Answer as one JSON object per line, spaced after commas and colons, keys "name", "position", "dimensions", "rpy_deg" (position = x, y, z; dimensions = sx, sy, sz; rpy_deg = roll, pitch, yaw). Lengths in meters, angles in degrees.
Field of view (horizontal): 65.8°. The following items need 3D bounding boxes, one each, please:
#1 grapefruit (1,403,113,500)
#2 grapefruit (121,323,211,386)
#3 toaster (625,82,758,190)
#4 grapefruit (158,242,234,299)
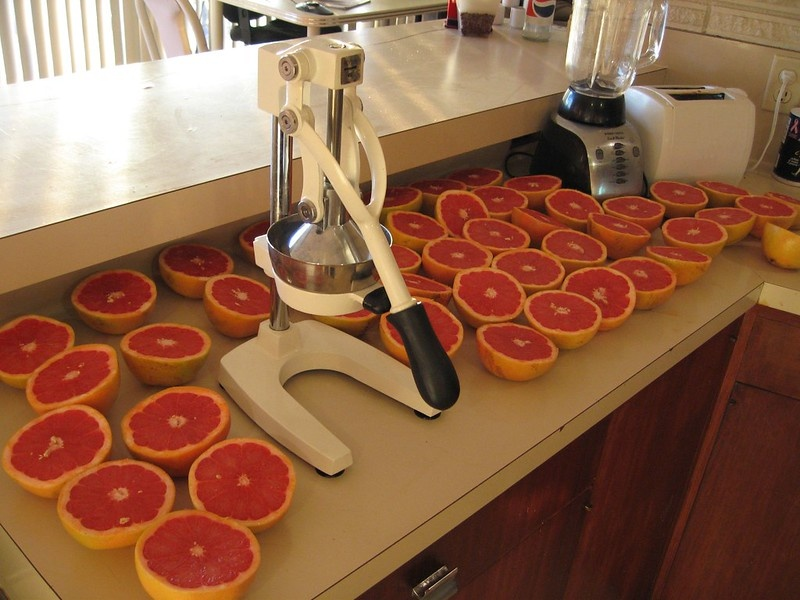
{"name": "grapefruit", "position": [-0.385, 0.167, 0.698], "dimensions": [0.098, 0.052, 0.100], "rpy_deg": [-20, 47, -19]}
{"name": "grapefruit", "position": [-0.312, 0.068, 0.826], "dimensions": [0.098, 0.048, 0.088], "rpy_deg": [3, 29, -6]}
{"name": "toaster", "position": [0.642, -0.360, 1.458], "dimensions": [0.325, 0.226, 0.220], "rpy_deg": [-8, 39, -12]}
{"name": "grapefruit", "position": [-0.325, -0.054, 0.988], "dimensions": [0.104, 0.051, 0.097], "rpy_deg": [6, 36, -17]}
